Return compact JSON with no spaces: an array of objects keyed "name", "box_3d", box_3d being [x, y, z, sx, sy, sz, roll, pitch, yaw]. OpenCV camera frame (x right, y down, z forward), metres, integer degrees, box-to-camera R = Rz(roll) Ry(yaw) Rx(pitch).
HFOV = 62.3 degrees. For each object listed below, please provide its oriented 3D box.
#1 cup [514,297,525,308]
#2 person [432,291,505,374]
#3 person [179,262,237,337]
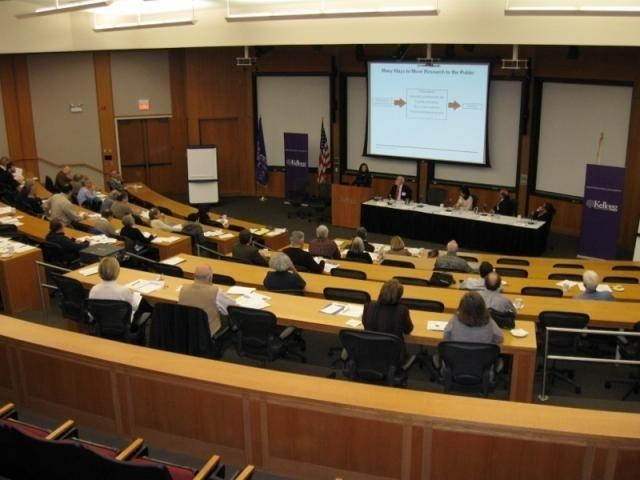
[{"name":"cup","box_3d":[2.421,0.757,6.450,0.083,0.120,0.271,5,14,33]},{"name":"person","box_3d":[1.543,0.939,5.341,0.590,1.019,0.540,2,41,11]},{"name":"person","box_3d":[-1.315,0.719,6.203,0.542,0.866,0.446,8,30,4]}]
